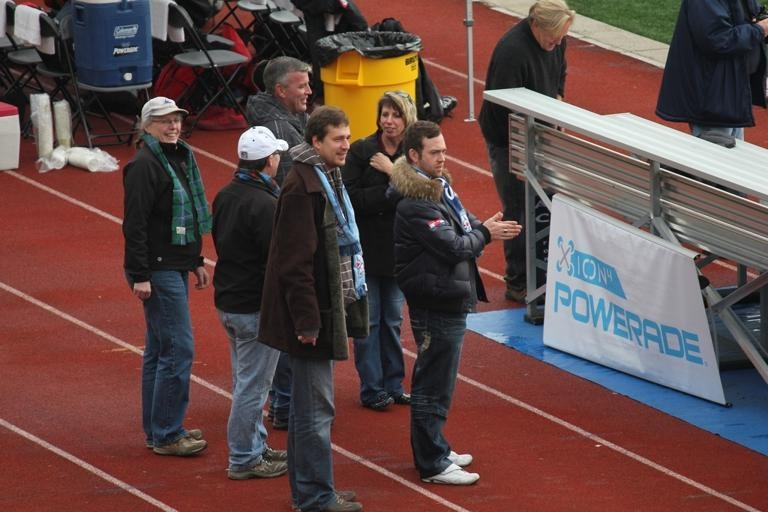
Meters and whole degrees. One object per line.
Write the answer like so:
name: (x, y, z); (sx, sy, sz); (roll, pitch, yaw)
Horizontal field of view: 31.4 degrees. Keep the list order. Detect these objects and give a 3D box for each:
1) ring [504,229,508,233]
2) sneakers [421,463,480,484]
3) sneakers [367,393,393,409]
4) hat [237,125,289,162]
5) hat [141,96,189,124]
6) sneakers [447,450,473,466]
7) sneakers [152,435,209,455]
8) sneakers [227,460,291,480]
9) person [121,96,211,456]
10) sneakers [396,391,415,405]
ring: (1.054, -0.227, 11.827); (0.045, 0.034, 0.021); (3, 14, 16)
sneakers: (0.581, 1.892, 11.883); (0.540, 0.166, 0.171); (-1, 11, -1)
sneakers: (-0.050, 1.351, 12.768); (0.288, 0.112, 0.110); (1, 38, -3)
hat: (-1.021, -0.975, 11.613); (0.421, 0.200, 0.271); (-19, 34, -27)
hat: (-1.938, -1.266, 11.819); (0.388, 0.150, 0.250); (-7, 6, 16)
sneakers: (0.637, 1.778, 12.047); (0.294, 0.086, 0.102); (4, 26, 7)
sneakers: (-1.776, 1.681, 12.059); (0.503, 0.165, 0.167); (-2, 24, 0)
sneakers: (-1.090, 1.831, 11.909); (0.590, 0.209, 0.187); (-3, 22, -6)
person: (-1.890, 0.199, 11.912); (0.852, 3.116, 0.771); (4, 17, -10)
sneakers: (0.182, 1.331, 12.771); (0.297, 0.101, 0.109); (-1, 28, 2)
